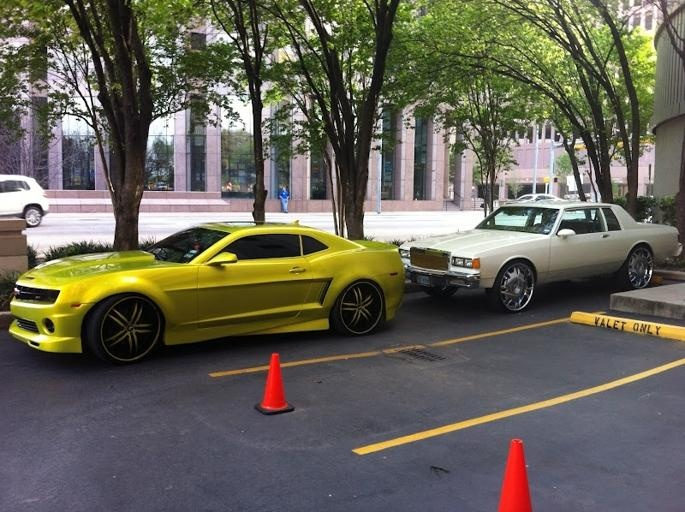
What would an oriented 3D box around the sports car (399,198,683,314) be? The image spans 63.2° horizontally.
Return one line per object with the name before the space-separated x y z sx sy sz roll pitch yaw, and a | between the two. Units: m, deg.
sports car | 4.041 -0.076 11.310 5.911 1.985 1.404 -4 8 -29
